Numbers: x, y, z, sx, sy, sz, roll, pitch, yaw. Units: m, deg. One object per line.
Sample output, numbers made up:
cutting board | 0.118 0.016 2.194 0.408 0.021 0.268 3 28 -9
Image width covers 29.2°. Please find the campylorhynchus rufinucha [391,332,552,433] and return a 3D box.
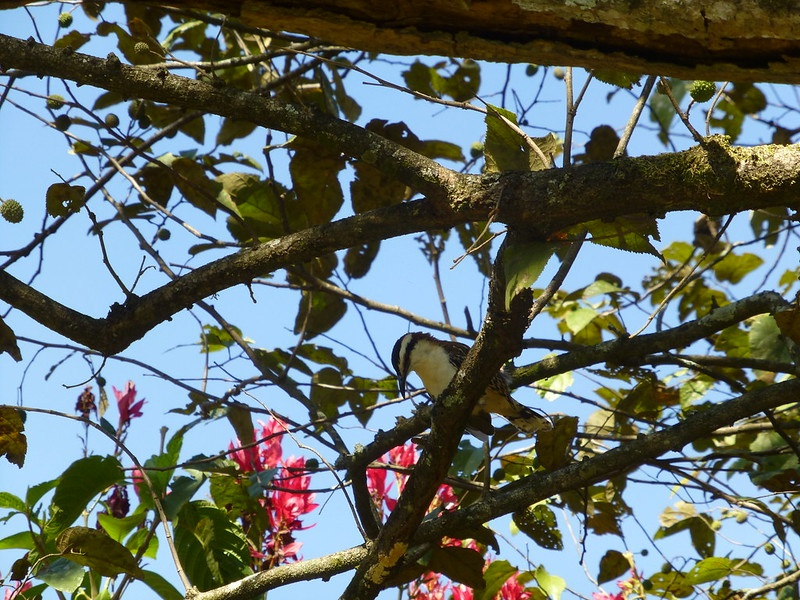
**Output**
campylorhynchus rufinucha | 0.371 0.440 9.306 0.382 0.546 1.143 -20 -14 41
